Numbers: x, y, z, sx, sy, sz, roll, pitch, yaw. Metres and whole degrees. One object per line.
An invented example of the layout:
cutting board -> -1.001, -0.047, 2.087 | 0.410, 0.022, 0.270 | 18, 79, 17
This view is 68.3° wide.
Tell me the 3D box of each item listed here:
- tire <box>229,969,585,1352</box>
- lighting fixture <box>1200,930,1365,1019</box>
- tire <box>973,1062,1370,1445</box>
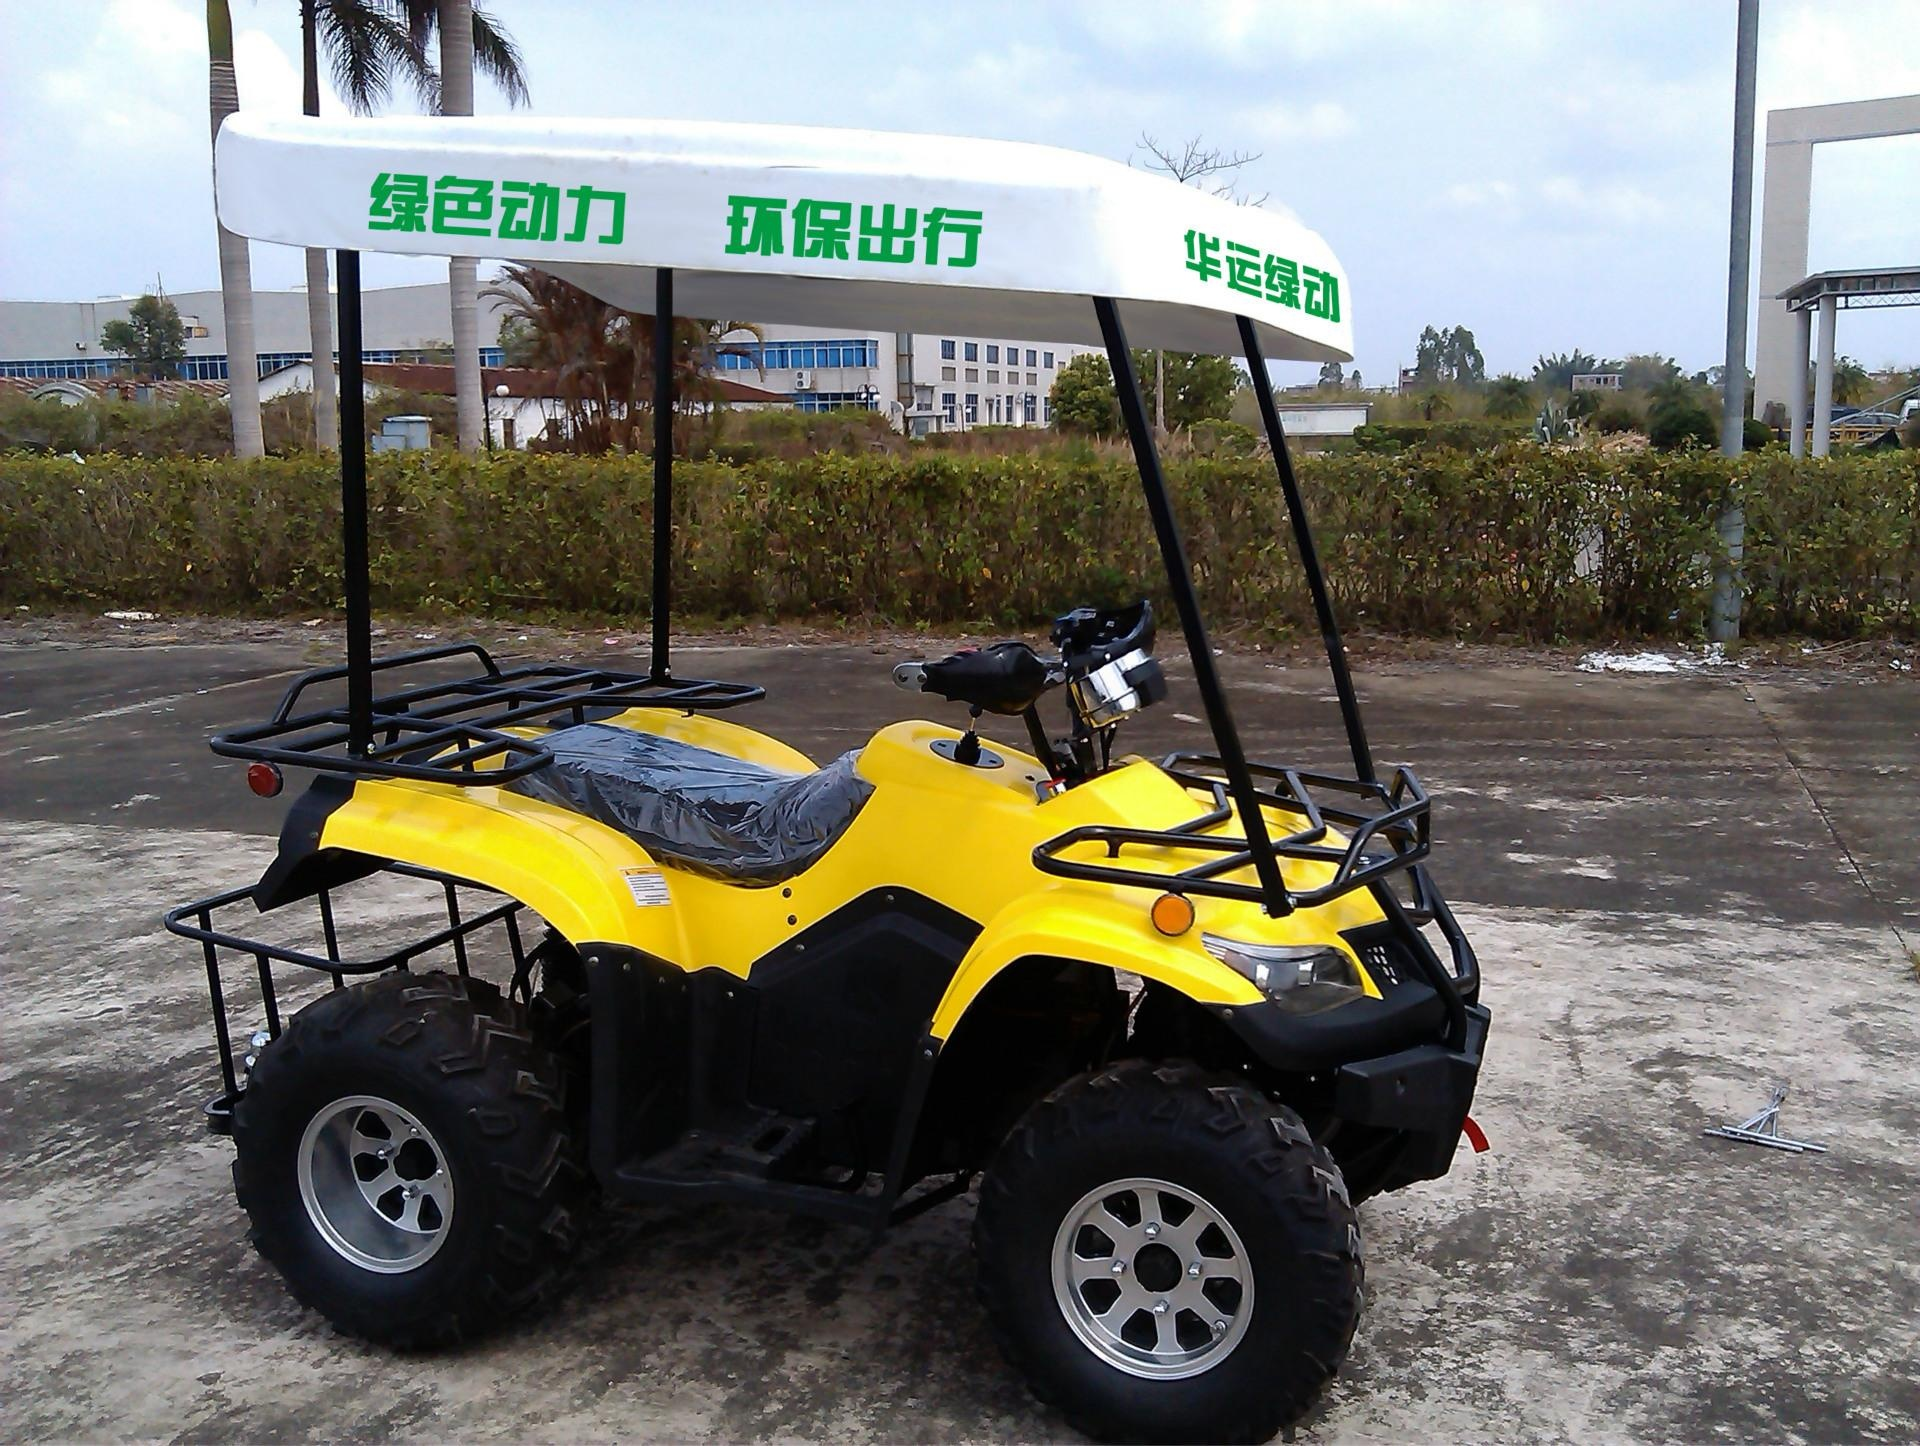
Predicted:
tire -> -1.432, 1.200, 3.807 | 1.021, 0.901, 0.411 | -1, 5, 27
lighting fixture -> 0.772, 0.587, 3.325 | 0.399, 0.177, 0.110 | -3, 9, -17
tire -> 0.493, 1.256, 3.275 | 1.024, 0.908, 0.316 | -2, 5, 22
